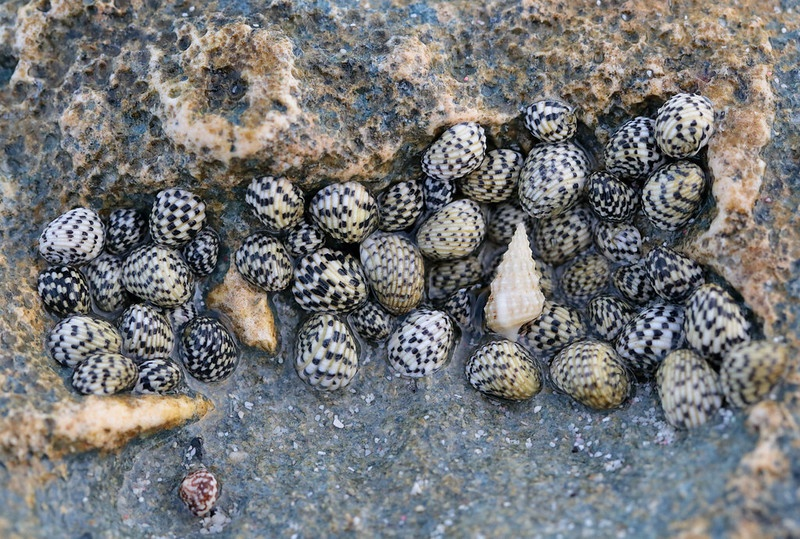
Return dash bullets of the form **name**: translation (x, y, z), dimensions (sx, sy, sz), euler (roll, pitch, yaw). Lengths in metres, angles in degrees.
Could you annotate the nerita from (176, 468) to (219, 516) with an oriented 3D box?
- **nerita**: translation (-1.289, 1.433, 5.459), dimensions (0.248, 0.173, 0.281), euler (-40, 84, -5)
